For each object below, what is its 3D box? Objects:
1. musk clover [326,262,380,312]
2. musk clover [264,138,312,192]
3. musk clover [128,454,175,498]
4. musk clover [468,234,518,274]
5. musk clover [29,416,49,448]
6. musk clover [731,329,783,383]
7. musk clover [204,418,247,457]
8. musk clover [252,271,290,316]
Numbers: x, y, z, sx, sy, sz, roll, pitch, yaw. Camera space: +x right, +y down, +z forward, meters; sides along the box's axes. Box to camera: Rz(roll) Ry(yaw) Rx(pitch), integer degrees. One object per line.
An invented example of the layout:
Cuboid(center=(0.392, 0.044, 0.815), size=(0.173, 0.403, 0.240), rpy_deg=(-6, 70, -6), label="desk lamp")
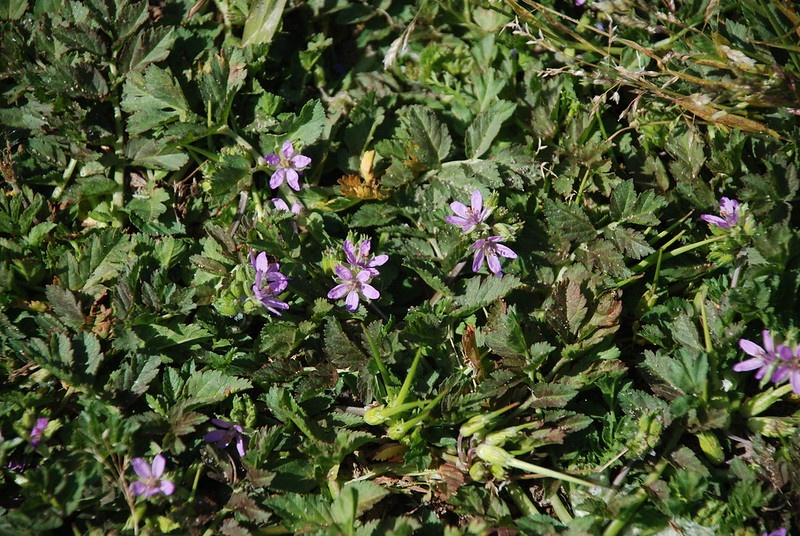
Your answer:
Cuboid(center=(-0.210, 0.064, 3.073), size=(0.249, 0.056, 0.284), rpy_deg=(-8, 44, -48), label="musk clover")
Cuboid(center=(-0.570, -0.489, 3.349), size=(0.205, 0.248, 0.272), rpy_deg=(-9, 62, -18), label="musk clover")
Cuboid(center=(-1.055, 0.908, 2.865), size=(0.182, 0.167, 0.154), rpy_deg=(5, 58, -10), label="musk clover")
Cuboid(center=(0.427, -0.069, 3.133), size=(0.175, 0.164, 0.196), rpy_deg=(2, 59, -12), label="musk clover")
Cuboid(center=(-1.592, 0.721, 2.916), size=(0.062, 0.027, 0.107), rpy_deg=(13, 64, 5), label="musk clover")
Cuboid(center=(1.613, 0.412, 3.002), size=(0.216, 0.111, 0.238), rpy_deg=(26, 92, 35), label="musk clover")
Cuboid(center=(-0.784, 0.767, 3.043), size=(0.172, 0.087, 0.186), rpy_deg=(24, 95, -9), label="musk clover")
Cuboid(center=(-0.613, 0.155, 3.127), size=(0.156, 0.302, 0.219), rpy_deg=(-1, 59, -13), label="musk clover")
